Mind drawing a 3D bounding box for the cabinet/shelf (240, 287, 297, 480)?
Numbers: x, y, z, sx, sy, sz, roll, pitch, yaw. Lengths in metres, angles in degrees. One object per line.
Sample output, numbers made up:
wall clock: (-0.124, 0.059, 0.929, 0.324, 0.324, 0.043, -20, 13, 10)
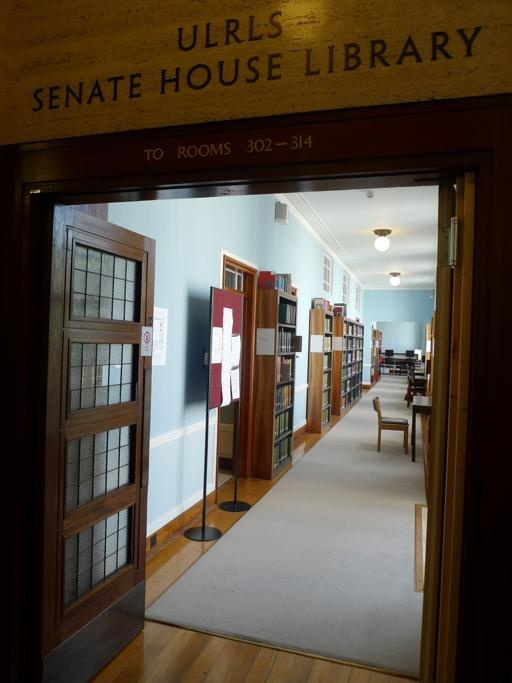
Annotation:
cabinet/shelf: (0.250, 0.764, 5.873, 0.172, 1.607, 0.678, 5, 8, 28)

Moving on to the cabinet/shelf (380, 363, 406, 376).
cabinet/shelf: (5.982, 1.242, 21.489, 1.028, 0.466, 1.107, 0, -2, 8)

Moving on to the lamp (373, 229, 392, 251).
lamp: (2.365, -1.892, 9.100, 0.330, 0.498, 0.384, 1, -2, -6)
